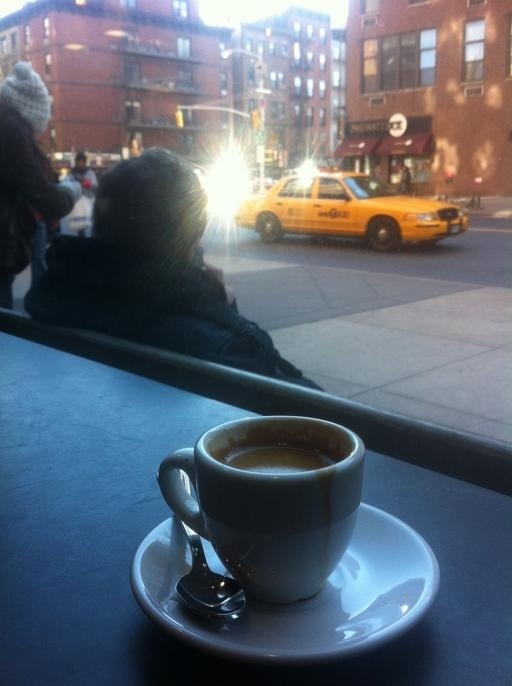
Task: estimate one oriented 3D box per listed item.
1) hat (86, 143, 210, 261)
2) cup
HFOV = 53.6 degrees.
[{"bbox_3d":[-0.280,-0.351,1.320,0.283,0.278,0.159,-6,9,-18],"label":"hat"},{"bbox_3d":[0.006,0.115,0.405,0.151,0.130,0.128,11,21,34],"label":"cup"}]
